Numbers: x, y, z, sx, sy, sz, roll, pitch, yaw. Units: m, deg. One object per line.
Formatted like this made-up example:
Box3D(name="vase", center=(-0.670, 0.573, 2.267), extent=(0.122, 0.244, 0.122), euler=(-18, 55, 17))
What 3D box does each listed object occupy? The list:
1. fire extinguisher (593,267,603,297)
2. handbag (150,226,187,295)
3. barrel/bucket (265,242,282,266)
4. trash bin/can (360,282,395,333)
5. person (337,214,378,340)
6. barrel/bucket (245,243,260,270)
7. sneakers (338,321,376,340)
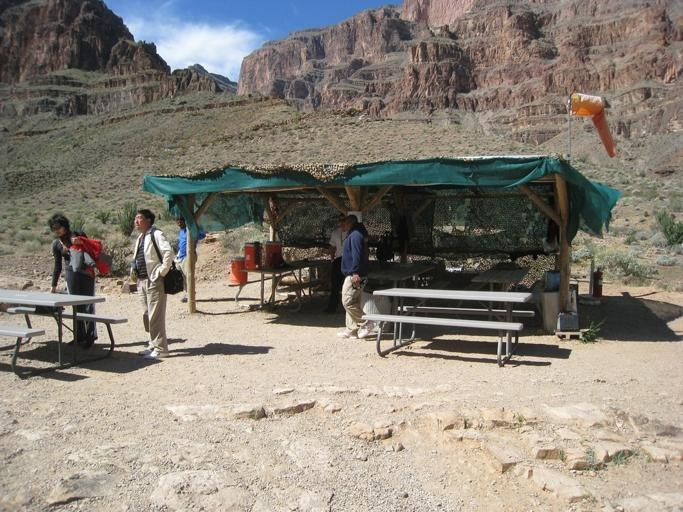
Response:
Box3D(name="fire extinguisher", center=(4.541, 0.509, 10.799), extent=(0.155, 0.492, 0.442), euler=(5, 12, 22))
Box3D(name="handbag", center=(-2.019, 0.081, 7.397), extent=(0.405, 0.880, 0.467), euler=(7, 13, 30))
Box3D(name="barrel/bucket", center=(-1.165, -0.032, 10.448), extent=(0.364, 0.396, 0.368), euler=(0, 3, 0))
Box3D(name="trash bin/can", center=(0.567, 0.760, 8.854), extent=(0.568, 0.548, 0.678), euler=(1, -10, 12))
Box3D(name="person", center=(0.205, 0.304, 8.347), extent=(0.434, 1.701, 0.423), euler=(2, 12, 8))
Box3D(name="barrel/bucket", center=(-1.555, -0.020, 10.773), extent=(0.257, 0.443, 0.365), euler=(-1, 11, -9))
Box3D(name="sneakers", center=(0.256, 1.043, 8.564), extent=(0.599, 0.269, 0.214), euler=(0, 4, -9))
